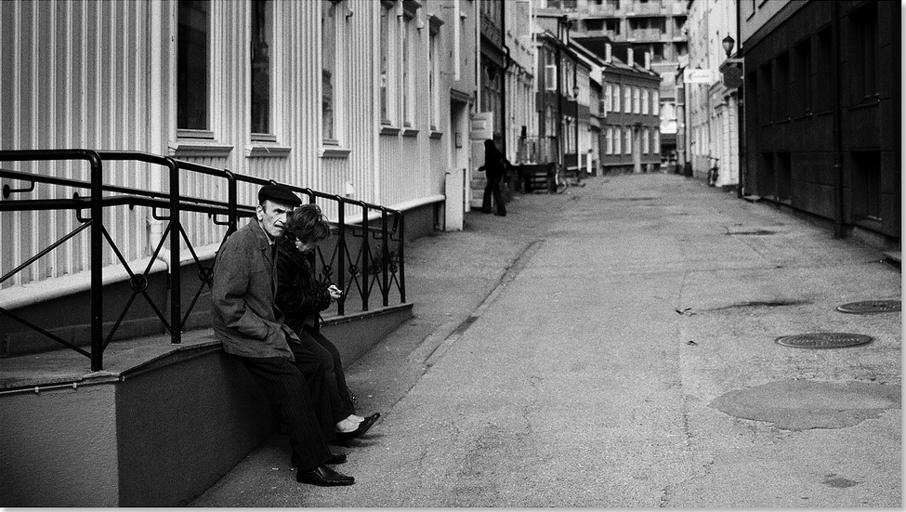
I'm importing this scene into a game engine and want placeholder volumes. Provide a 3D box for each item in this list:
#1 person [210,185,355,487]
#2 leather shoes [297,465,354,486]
[{"bbox_3d":[-1.603,0.724,7.530,1.082,2.647,0.708,-3,10,-4],"label":"person"},{"bbox_3d":[-1.155,1.964,7.551,0.472,0.184,0.204,-1,2,3],"label":"leather shoes"}]
